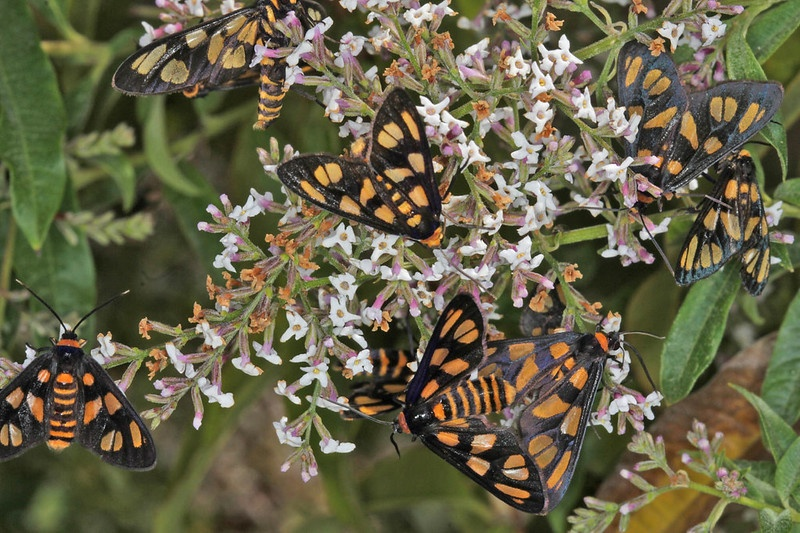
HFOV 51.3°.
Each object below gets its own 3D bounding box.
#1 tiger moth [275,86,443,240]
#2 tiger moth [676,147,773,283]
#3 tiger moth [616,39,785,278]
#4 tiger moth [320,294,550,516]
[{"bbox_3d":[-0.125,-0.293,2.536,0.505,0.398,0.257,-1,46,2],"label":"tiger moth"},{"bbox_3d":[1.041,-0.183,2.838,0.372,0.413,0.100,13,4,-25],"label":"tiger moth"},{"bbox_3d":[0.939,-0.294,2.785,0.457,0.644,0.163,-20,85,4],"label":"tiger moth"},{"bbox_3d":[0.167,0.433,2.672,0.432,0.867,0.239,-17,27,3],"label":"tiger moth"}]
